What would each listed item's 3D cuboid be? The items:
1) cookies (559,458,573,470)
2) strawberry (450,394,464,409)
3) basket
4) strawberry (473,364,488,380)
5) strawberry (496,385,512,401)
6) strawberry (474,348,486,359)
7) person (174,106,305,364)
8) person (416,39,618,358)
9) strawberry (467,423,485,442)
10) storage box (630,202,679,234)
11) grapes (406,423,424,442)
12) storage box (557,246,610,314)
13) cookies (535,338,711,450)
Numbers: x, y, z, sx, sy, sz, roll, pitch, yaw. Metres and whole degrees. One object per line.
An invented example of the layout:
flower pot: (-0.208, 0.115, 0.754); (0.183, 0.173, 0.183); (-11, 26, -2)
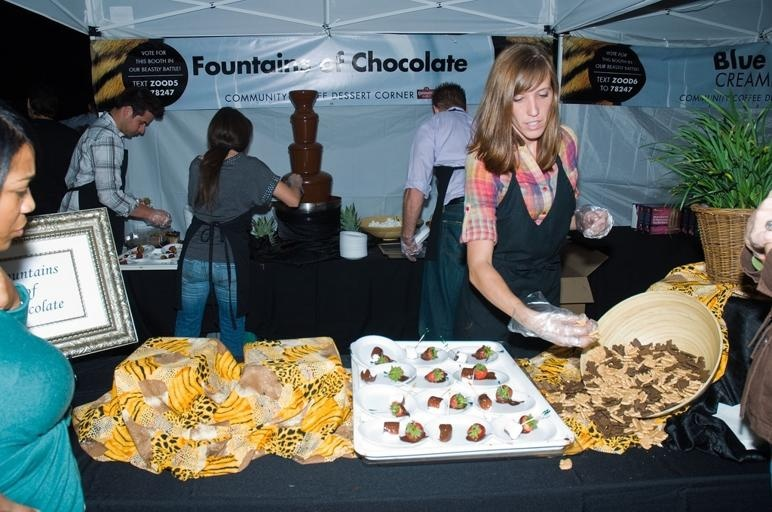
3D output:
cookies: (0.631, 0.740, 1.920); (0.034, 0.009, 0.035); (18, 42, 40)
strawberry: (0.270, 0.554, 2.064); (0.056, 0.054, 0.047); (-3, -1, 4)
basket: (1.455, -0.055, 2.263); (0.281, 0.293, 0.265); (1, 2, -20)
strawberry: (0.385, 0.475, 2.199); (0.055, 0.060, 0.054); (-1, 16, -26)
strawberry: (0.461, 0.530, 2.128); (0.050, 0.054, 0.058); (16, 40, 37)
strawberry: (0.411, 0.424, 2.335); (0.044, 0.042, 0.042); (-18, 42, 20)
person: (-1.097, -0.129, 3.643); (0.790, 1.678, 0.278); (-10, 17, -21)
person: (0.577, -0.275, 2.293); (0.504, 1.208, 0.680); (0, 16, 12)
strawberry: (0.325, 0.636, 1.936); (0.058, 0.025, 0.048); (-4, -14, -13)
storage box: (2.162, -0.301, 4.323); (0.247, 0.165, 0.242); (1, 8, 2)
grapes: (0.103, 0.627, 1.925); (0.060, 0.026, 0.062); (1, 17, 6)
storage box: (1.649, 0.105, 4.491); (0.474, 0.659, 0.519); (1, -7, 16)
cookies: (0.923, 0.535, 2.097); (0.442, 0.131, 0.443); (-12, 38, 1)
